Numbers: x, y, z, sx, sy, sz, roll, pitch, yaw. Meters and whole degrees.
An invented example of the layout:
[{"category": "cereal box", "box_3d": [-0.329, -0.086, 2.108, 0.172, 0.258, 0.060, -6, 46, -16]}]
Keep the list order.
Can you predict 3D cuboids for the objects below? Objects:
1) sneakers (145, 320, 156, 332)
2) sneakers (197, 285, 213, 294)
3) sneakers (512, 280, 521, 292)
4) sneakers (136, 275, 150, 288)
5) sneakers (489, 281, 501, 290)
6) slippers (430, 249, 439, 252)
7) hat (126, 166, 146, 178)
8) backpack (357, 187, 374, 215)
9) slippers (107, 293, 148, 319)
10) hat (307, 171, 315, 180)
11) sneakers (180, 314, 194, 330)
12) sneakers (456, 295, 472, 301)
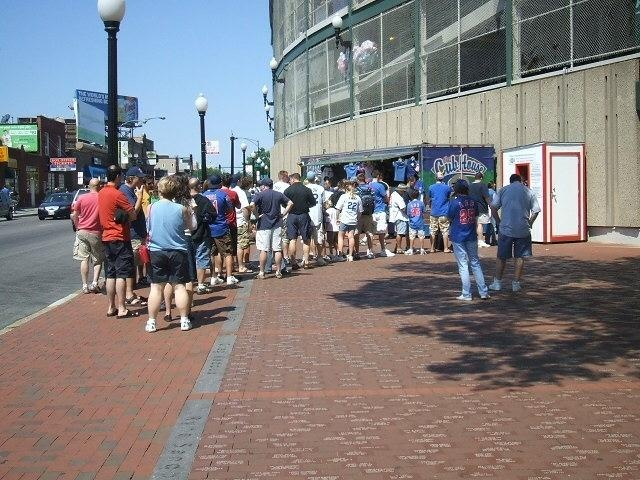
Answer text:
[{"category": "sneakers", "box_3d": [-2.401, 1.204, 8.052, 0.162, 0.187, 0.228, -3, 5, -18]}, {"category": "sneakers", "box_3d": [-2.264, 0.948, 11.121, 0.341, 0.256, 0.121, 1, 13, -8]}, {"category": "sneakers", "box_3d": [3.688, 0.851, 10.646, 0.106, 0.230, 0.329, 4, 8, 25]}, {"category": "sneakers", "box_3d": [-3.780, 0.875, 12.154, 0.125, 0.172, 0.385, 1, 3, -7]}, {"category": "sneakers", "box_3d": [3.324, 0.854, 10.773, 0.110, 0.177, 0.275, -1, 5, -7]}, {"category": "slippers", "box_3d": [3.360, 0.320, 16.858, 0.124, 0.108, 0.309, -8, 0, -1]}, {"category": "hat", "box_3d": [-3.250, -1.197, 10.007, 0.253, 0.149, 0.179, -6, 18, -33]}, {"category": "backpack", "box_3d": [1.253, -1.051, 15.344, 0.431, 0.651, 0.618, 0, -2, -2]}, {"category": "slippers", "box_3d": [-3.020, 1.092, 9.217, 0.206, 0.298, 0.685, 3, 4, 37]}, {"category": "hat", "box_3d": [-0.262, -1.608, 14.243, 0.140, 0.203, 0.192, 3, 5, 29]}, {"category": "sneakers", "box_3d": [-1.923, 1.176, 8.162, 0.154, 0.198, 0.234, -2, 5, -10]}, {"category": "sneakers", "box_3d": [2.487, 0.973, 9.868, 0.243, 0.112, 0.091, 5, 7, 41]}]
